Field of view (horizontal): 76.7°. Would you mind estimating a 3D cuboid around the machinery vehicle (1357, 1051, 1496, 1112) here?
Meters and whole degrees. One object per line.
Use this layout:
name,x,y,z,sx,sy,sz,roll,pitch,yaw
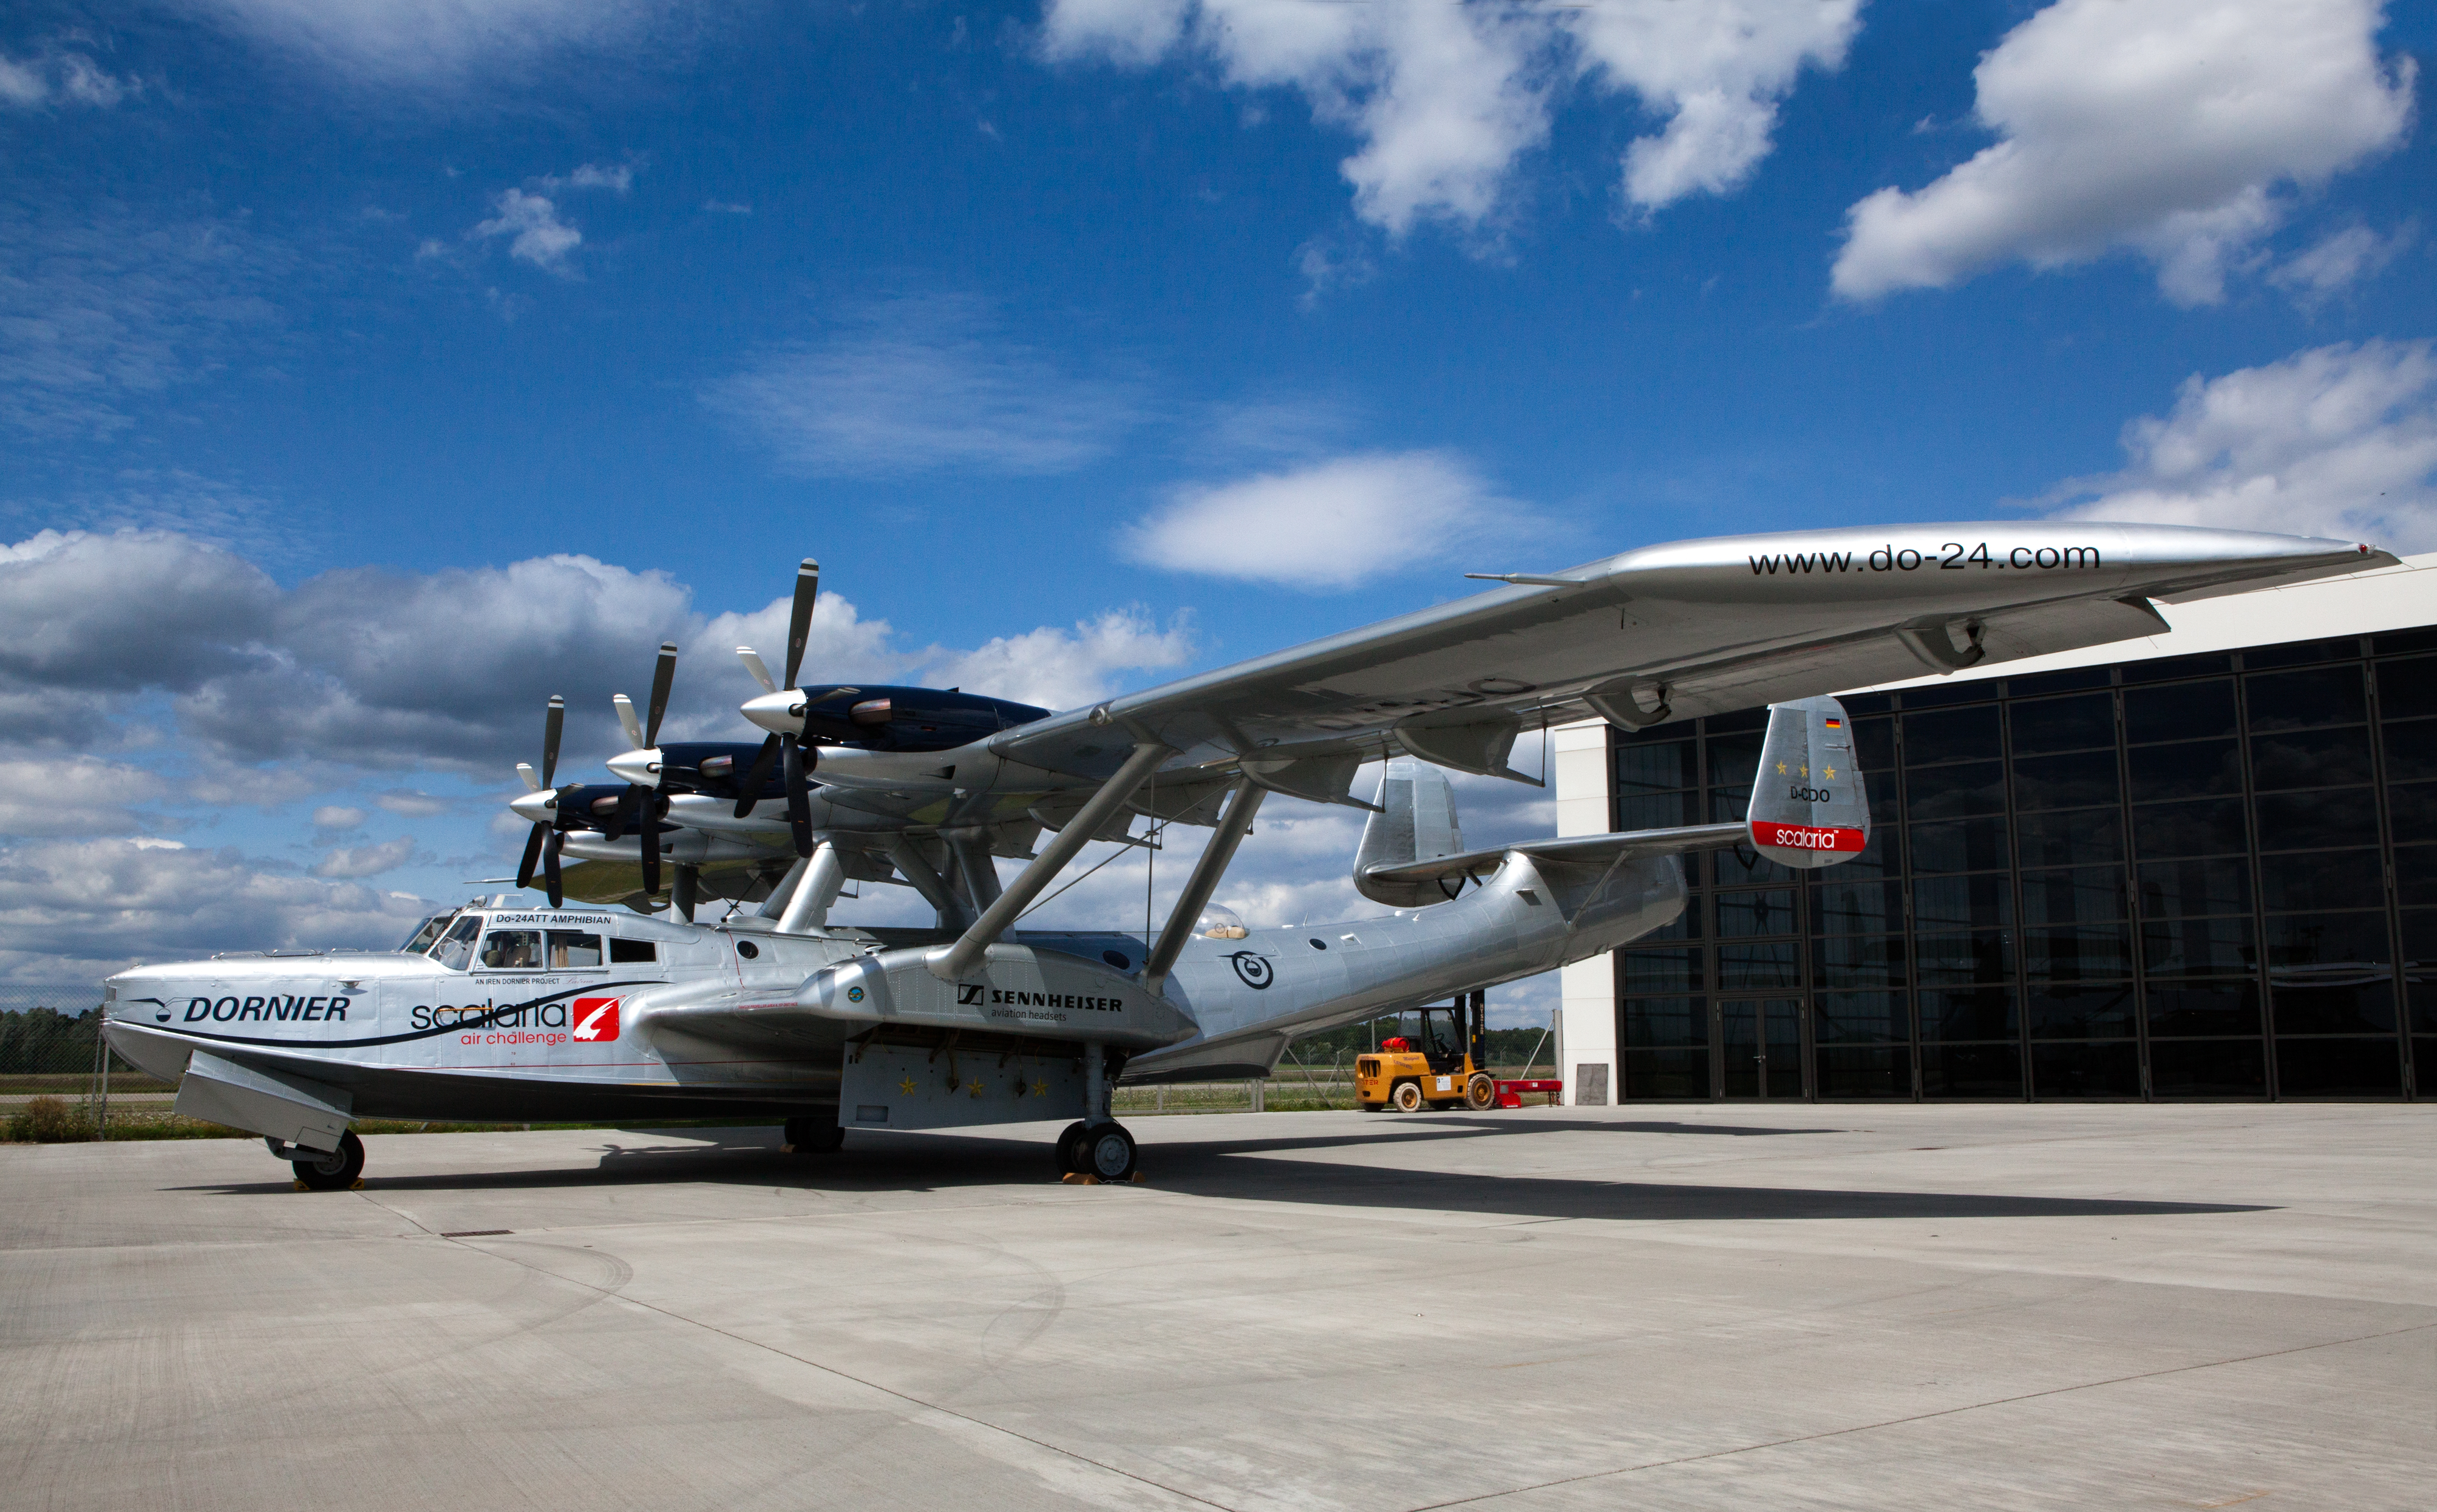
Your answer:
machinery vehicle,4.794,7.468,35.270,2.998,0.973,1.270,-1,-2,-7
